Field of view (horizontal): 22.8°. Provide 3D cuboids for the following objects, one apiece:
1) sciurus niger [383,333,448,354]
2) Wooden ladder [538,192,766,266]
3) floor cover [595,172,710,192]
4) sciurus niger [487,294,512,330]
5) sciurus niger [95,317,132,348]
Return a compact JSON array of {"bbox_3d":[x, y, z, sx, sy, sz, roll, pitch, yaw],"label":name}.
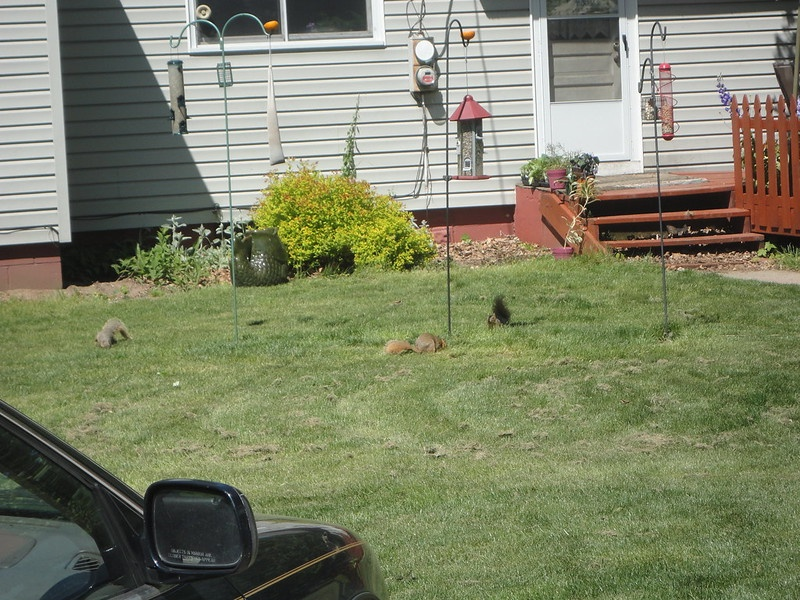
[{"bbox_3d":[0.183,0.520,23.342,0.735,0.367,0.285,-1,5,-9],"label":"sciurus niger"},{"bbox_3d":[3.362,-1.072,26.520,2.895,0.884,1.220,-4,8,6],"label":"Wooden ladder"},{"bbox_3d":[3.506,-1.673,27.367,1.552,0.100,1.878,-3,9,10],"label":"floor cover"},{"bbox_3d":[1.202,0.121,23.888,0.289,0.366,0.445,-3,8,3],"label":"sciurus niger"},{"bbox_3d":[-3.502,0.382,24.046,0.484,0.323,0.292,-9,9,-34],"label":"sciurus niger"}]
